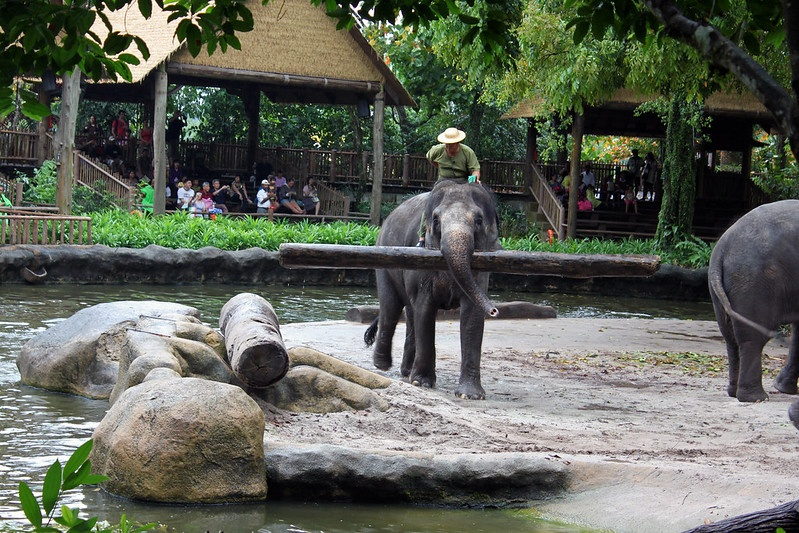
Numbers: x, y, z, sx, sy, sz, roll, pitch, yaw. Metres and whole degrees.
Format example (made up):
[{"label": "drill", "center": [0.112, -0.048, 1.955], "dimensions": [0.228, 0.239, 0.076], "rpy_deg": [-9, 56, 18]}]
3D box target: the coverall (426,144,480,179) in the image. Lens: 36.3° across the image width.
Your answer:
[{"label": "coverall", "center": [0.677, -1.225, 15.058], "dimensions": [0.703, 0.515, 0.377], "rpy_deg": [-1, -7, 26]}]
